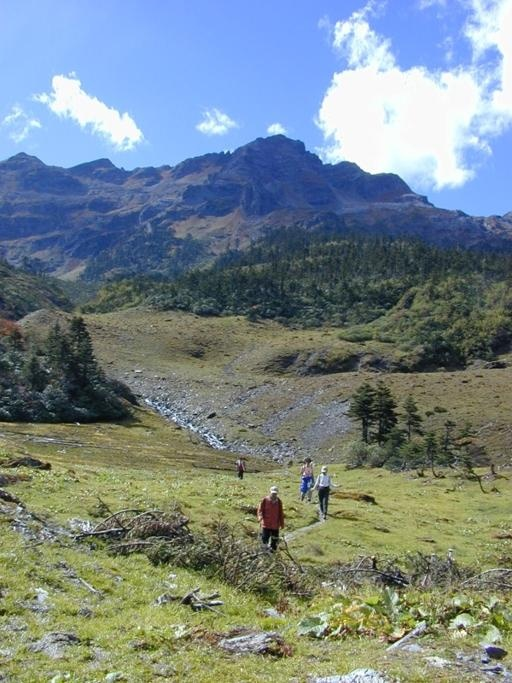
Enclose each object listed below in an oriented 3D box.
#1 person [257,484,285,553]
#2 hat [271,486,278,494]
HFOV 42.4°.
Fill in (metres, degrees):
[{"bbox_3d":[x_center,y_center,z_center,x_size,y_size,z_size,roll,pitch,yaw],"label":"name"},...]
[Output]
[{"bbox_3d":[0.401,4.941,18.518,0.746,1.675,0.561,11,-6,0],"label":"person"},{"bbox_3d":[0.504,4.189,18.689,0.257,0.182,0.376,2,-5,6],"label":"hat"}]
